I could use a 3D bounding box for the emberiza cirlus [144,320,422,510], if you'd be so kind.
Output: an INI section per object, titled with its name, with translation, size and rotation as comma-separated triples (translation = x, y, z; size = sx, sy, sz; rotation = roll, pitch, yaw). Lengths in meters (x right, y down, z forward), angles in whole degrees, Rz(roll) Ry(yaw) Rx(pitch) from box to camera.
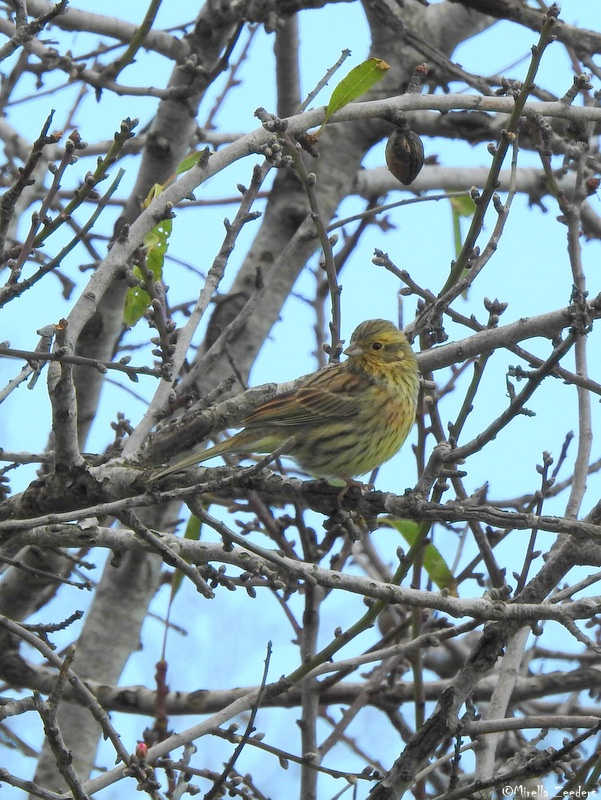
[emberiza cirlus]
translation = -0.051, 0.015, 6.879
size = 1.303, 0.491, 0.766
rotation = 0, -92, 14
